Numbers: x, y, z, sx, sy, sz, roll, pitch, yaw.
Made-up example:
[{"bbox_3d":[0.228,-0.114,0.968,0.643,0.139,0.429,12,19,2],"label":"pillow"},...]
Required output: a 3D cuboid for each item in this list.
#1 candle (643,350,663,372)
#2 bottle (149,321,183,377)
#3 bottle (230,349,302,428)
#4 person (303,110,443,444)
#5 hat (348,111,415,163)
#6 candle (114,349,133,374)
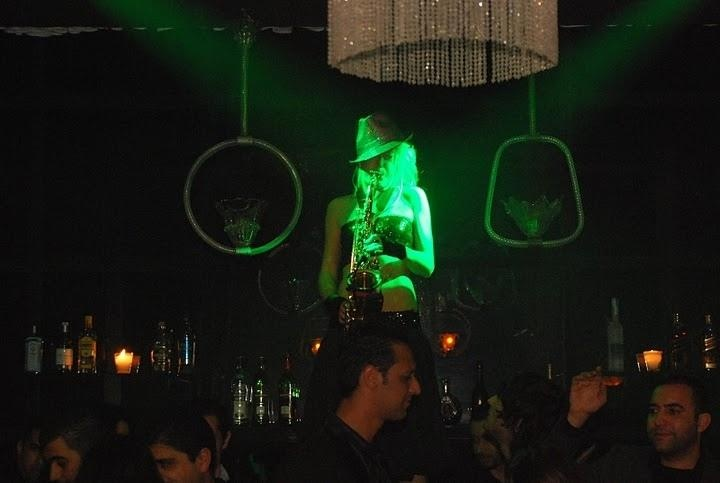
[{"bbox_3d":[1.972,0.806,6.325,0.121,0.112,0.126,0,-14,3],"label":"candle"},{"bbox_3d":[-1.406,0.730,6.735,0.148,0.400,0.150,-3,-8,0],"label":"bottle"},{"bbox_3d":[-0.646,1.068,6.618,0.452,0.436,0.156,2,-20,-10],"label":"bottle"},{"bbox_3d":[0.120,0.104,6.137,0.698,2.331,0.631,-3,7,2],"label":"person"},{"bbox_3d":[0.132,-0.709,6.239,0.447,0.308,0.355,-4,8,-14],"label":"hat"},{"bbox_3d":[-1.628,0.845,6.515,0.148,0.164,0.144,1,-9,5],"label":"candle"}]
